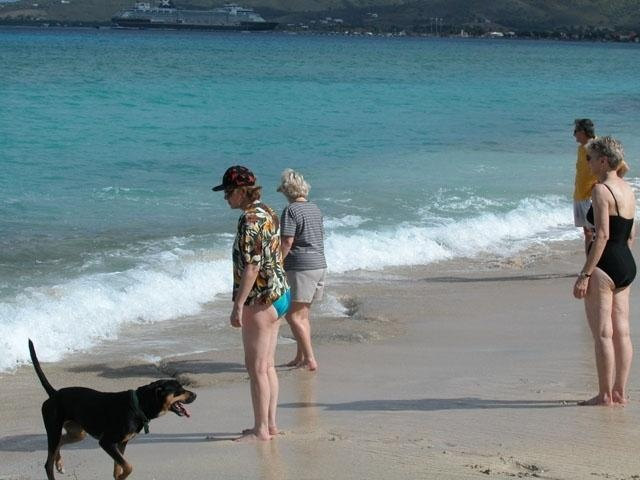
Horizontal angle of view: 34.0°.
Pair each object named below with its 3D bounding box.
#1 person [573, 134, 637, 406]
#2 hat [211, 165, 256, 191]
[{"bbox_3d":[4.071,0.441,14.941,0.754,3.760,1.052,0,14,23],"label":"person"},{"bbox_3d":[-1.221,-0.872,14.571,0.576,0.251,0.337,-3,10,-7],"label":"hat"}]
